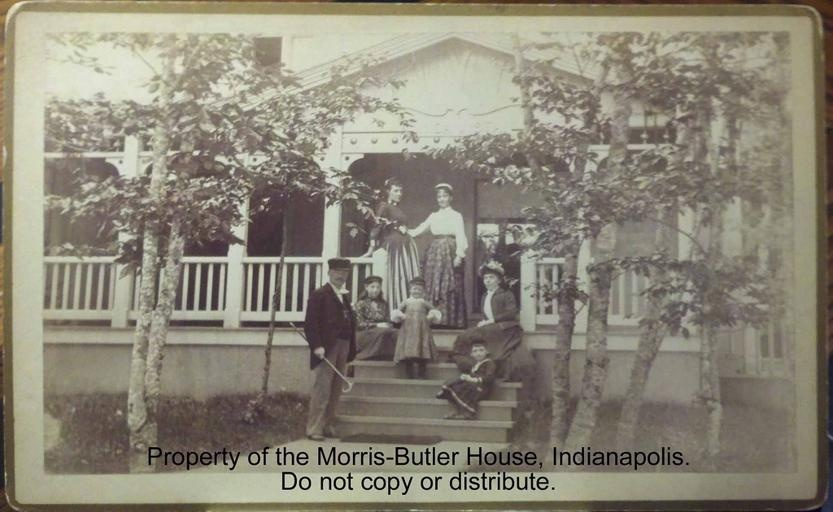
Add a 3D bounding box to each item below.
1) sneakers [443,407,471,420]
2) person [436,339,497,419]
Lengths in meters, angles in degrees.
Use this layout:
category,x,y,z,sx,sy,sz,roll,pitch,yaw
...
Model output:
category,x,y,z,sx,sy,sz,roll,pitch,yaw
sneakers,0.399,1.514,11.711,0.280,0.172,0.093,4,-10,4
person,0.503,1.187,11.841,0.537,0.708,0.406,2,-6,-4
